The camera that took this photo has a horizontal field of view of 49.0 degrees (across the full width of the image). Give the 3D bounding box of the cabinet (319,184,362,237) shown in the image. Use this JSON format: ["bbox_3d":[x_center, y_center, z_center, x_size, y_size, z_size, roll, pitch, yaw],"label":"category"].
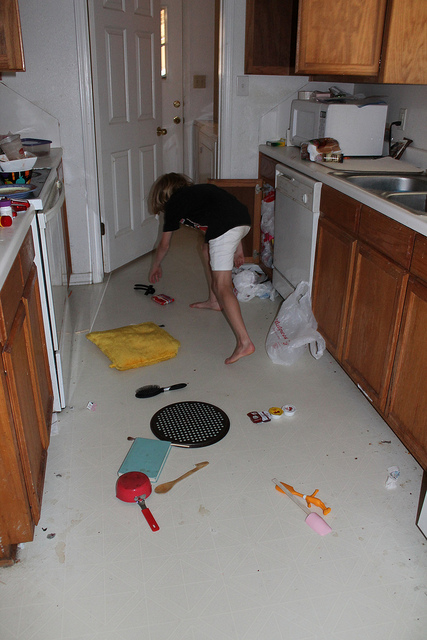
[{"bbox_3d":[0.530,-0.456,1.948,0.159,0.119,0.243,-22,47,-22],"label":"cabinet"}]

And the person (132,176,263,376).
[{"bbox_3d":[-0.029,-0.284,2.348,0.608,0.578,1.134,-8,47,-12],"label":"person"}]

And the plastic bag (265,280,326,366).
[{"bbox_3d":[0.442,0.025,2.337,0.299,0.395,0.154,22,13,41],"label":"plastic bag"}]

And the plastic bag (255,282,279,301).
[{"bbox_3d":[0.345,-0.188,3.031,0.129,0.102,0.063,-13,1,14],"label":"plastic bag"}]

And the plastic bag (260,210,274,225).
[{"bbox_3d":[0.346,-0.687,3.144,0.021,0.071,0.076,-6,10,-39],"label":"plastic bag"}]
